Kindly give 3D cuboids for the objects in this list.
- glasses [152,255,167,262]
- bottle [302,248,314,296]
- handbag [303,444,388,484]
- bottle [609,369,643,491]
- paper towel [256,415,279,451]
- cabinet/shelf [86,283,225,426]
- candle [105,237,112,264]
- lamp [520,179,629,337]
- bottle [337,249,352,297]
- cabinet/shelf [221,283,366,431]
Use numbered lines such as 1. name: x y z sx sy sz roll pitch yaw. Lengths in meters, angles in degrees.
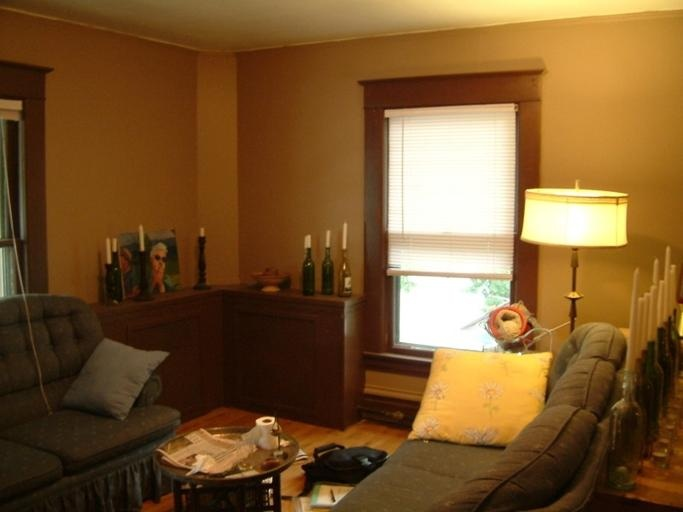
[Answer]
1. glasses: -1.439 0.022 4.797 0.020 0.061 0.128 4 6 33
2. bottle: -0.259 0.122 4.826 0.104 0.361 0.272 1 5 -4
3. handbag: 0.003 1.314 3.818 0.296 0.115 0.265 0 3 10
4. bottle: 0.923 0.556 1.973 0.094 0.360 0.197 4 6 26
5. paper towel: -0.401 0.952 3.278 0.126 0.147 0.126 -1 13 -7
6. cabinet/shelf: -1.332 0.691 4.266 0.337 0.949 0.981 3 6 35
7. candle: -1.702 -0.036 4.450 0.045 0.180 0.269 -1 6 -21
8. lamp: 1.409 0.021 3.664 0.542 0.922 0.629 4 6 33
9. bottle: 0.030 0.131 4.753 0.106 0.361 0.234 1 5 0
10. cabinet/shelf: -0.445 0.797 4.980 1.133 1.020 0.425 4 8 25
